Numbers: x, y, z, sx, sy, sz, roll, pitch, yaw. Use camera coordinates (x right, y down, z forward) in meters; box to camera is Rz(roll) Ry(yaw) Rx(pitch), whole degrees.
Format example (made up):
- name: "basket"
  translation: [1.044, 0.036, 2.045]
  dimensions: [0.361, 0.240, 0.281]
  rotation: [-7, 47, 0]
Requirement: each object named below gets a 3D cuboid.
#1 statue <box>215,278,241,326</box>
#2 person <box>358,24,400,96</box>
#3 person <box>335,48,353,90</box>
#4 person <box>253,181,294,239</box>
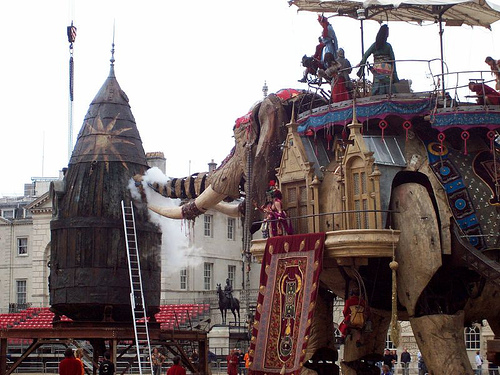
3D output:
- name: "statue"
  translation: [-1.142, 6.168, 57.379]
  dimensions: [1.095, 2.585, 2.517]
  rotation: [-3, -10, -2]
- name: "person"
  translation: [4.341, -4.209, 35.549]
  dimensions: [1.089, 2.673, 1.386]
  rotation: [-5, -10, 8]
- name: "person"
  translation: [3.188, -4.065, 36.409]
  dimensions: [0.517, 1.526, 0.824]
  rotation: [-4, -10, 5]
- name: "person"
  translation: [0.747, 0.962, 36.316]
  dimensions: [1.279, 2.232, 1.128]
  rotation: [3, 24, 6]
